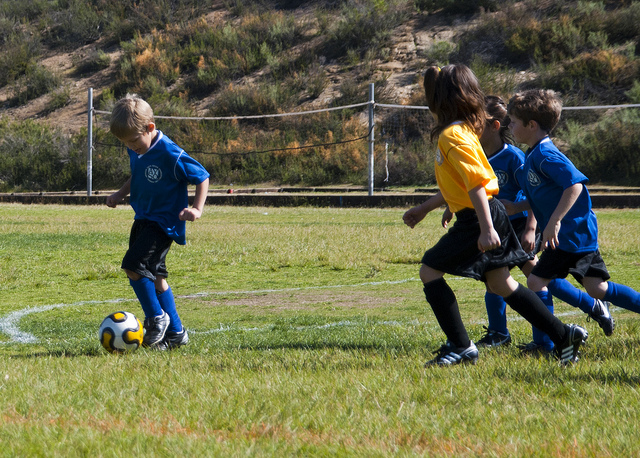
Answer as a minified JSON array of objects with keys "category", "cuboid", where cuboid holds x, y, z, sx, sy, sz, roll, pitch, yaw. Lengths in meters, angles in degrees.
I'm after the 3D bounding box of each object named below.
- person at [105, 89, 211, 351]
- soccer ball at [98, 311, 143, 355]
[{"category":"person","cuboid":[-1.984,-0.017,11.255,1.064,2.949,1.337,1,1,-29]},{"category":"soccer ball","cuboid":[-2.240,1.187,10.811,0.482,0.423,0.300,-3,12,-13]}]
